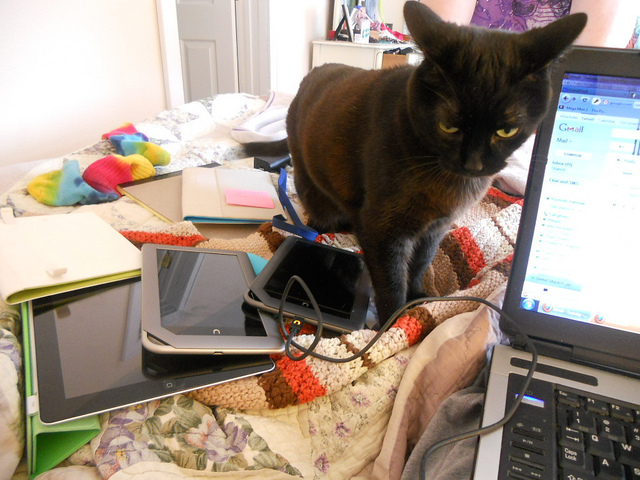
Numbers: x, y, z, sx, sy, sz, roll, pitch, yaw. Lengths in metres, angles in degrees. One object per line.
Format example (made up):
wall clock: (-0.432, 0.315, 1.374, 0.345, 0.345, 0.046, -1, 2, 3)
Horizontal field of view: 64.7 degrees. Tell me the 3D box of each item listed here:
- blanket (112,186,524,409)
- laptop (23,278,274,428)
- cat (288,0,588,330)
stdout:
blanket: (0.030, 0.076, 1.072, 0.752, 0.127, 0.552, -8, 26, -27)
laptop: (-0.290, 0.184, 0.870, 0.384, 0.094, 0.282, -17, 53, -39)
cat: (0.112, -0.313, 1.175, 0.394, 0.670, 0.764, -19, 39, -26)
